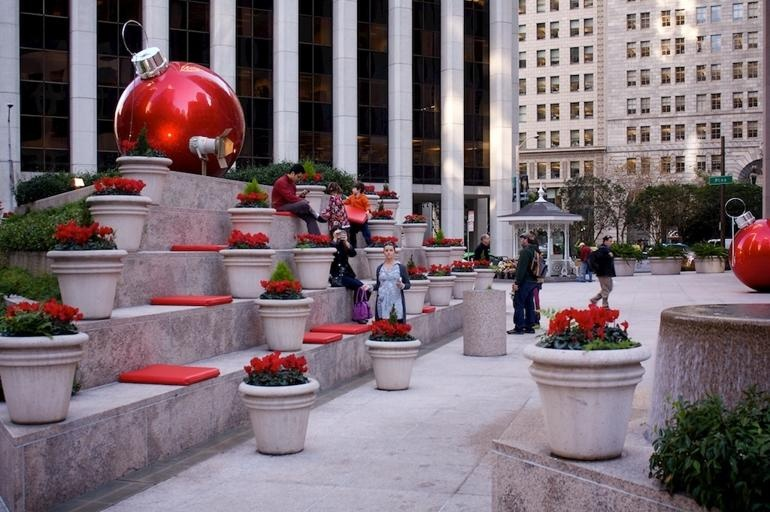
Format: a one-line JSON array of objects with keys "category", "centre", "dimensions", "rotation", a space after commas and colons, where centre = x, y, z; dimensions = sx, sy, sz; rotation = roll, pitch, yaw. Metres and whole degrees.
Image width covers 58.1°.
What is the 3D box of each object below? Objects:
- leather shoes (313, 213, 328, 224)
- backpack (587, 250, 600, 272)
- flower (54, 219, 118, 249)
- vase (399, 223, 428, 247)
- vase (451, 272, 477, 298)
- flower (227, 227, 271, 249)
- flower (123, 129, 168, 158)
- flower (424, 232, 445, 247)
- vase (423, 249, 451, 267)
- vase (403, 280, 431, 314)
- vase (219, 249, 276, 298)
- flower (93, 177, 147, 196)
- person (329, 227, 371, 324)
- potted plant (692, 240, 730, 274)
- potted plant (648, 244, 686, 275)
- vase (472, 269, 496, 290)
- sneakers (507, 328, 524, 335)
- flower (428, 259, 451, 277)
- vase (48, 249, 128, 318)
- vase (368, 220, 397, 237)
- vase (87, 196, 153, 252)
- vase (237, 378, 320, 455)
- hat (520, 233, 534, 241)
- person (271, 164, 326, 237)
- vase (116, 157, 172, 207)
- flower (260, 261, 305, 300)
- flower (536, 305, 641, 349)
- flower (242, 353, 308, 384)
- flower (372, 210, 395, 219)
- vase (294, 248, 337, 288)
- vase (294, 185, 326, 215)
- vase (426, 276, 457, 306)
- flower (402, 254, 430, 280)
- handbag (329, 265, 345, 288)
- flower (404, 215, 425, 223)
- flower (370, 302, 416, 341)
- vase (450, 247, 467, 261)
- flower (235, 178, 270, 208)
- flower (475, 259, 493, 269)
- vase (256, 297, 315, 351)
[{"category": "leather shoes", "centre": [-1.630, -0.948, 17.725], "dimensions": [0.199, 0.205, 0.210], "rotation": [-4, 3, 18]}, {"category": "backpack", "centre": [6.642, 0.171, 22.346], "dimensions": [0.432, 0.612, 0.208], "rotation": [0, 9, -34]}, {"category": "flower", "centre": [-4.538, -0.274, 10.363], "dimensions": [0.614, 0.279, 0.607], "rotation": [1, 1, 44]}, {"category": "vase", "centre": [0.950, -0.718, 24.173], "dimensions": [0.836, 0.705, 0.847], "rotation": [2, -4, -20]}, {"category": "vase", "centre": [2.458, 0.966, 22.108], "dimensions": [0.811, 0.759, 0.846], "rotation": [1, 1, 24]}, {"category": "flower", "centre": [-2.642, -0.329, 13.441], "dimensions": [0.750, 0.377, 0.306], "rotation": [-3, 3, -6]}, {"category": "flower", "centre": [-4.839, -2.266, 13.953], "dimensions": [0.773, 0.630, 0.819], "rotation": [-4, 3, -20]}, {"category": "flower", "centre": [1.736, -0.546, 23.791], "dimensions": [0.551, 0.708, 0.575], "rotation": [11, 11, 17]}, {"category": "vase", "centre": [1.737, 0.024, 23.314], "dimensions": [0.653, 0.532, 0.678], "rotation": [-1, 0, 33]}, {"category": "vase", "centre": [0.816, 1.045, 17.991], "dimensions": [0.746, 0.729, 0.780], "rotation": [1, 5, 15]}, {"category": "vase", "centre": [-2.627, 0.296, 13.256], "dimensions": [0.904, 0.765, 0.934], "rotation": [1, -7, -6]}, {"category": "flower", "centre": [-4.678, -1.237, 12.225], "dimensions": [0.791, 0.369, 0.569], "rotation": [-1, 3, 24]}, {"category": "person", "centre": [-0.810, 0.413, 16.285], "dimensions": [0.994, 2.111, 0.846], "rotation": [3, 6, 23]}, {"category": "potted plant", "centre": [18.639, 0.004, 40.096], "dimensions": [1.747, 1.517, 1.808], "rotation": [1, -7, -5]}, {"category": "potted plant", "centre": [15.910, 0.057, 39.933], "dimensions": [1.852, 1.550, 1.853], "rotation": [5, -6, -45]}, {"category": "vase", "centre": [3.495, 0.782, 23.980], "dimensions": [0.789, 0.643, 0.808], "rotation": [2, -5, -12]}, {"category": "sneakers", "centre": [3.671, 2.138, 19.590], "dimensions": [0.392, 0.178, 0.187], "rotation": [2, -1, 14]}, {"category": "flower", "centre": [1.608, 0.411, 20.550], "dimensions": [0.643, 0.281, 0.996], "rotation": [-2, 3, 4]}, {"category": "vase", "centre": [-4.496, 0.404, 10.613], "dimensions": [1.133, 1.061, 1.191], "rotation": [-1, 1, 40]}, {"category": "vase", "centre": [-0.067, -0.890, 21.566], "dimensions": [0.596, 0.459, 0.618], "rotation": [-1, 1, 35]}, {"category": "vase", "centre": [-4.754, -0.527, 12.424], "dimensions": [1.103, 1.030, 1.183], "rotation": [-5, -4, -10]}, {"category": "vase", "centre": [-1.492, 2.323, 9.993], "dimensions": [1.141, 0.908, 1.127], "rotation": [3, -10, -32]}, {"category": "hat", "centre": [4.018, -0.552, 19.586], "dimensions": [0.280, 0.164, 0.396], "rotation": [2, 0, 4]}, {"category": "person", "centre": [-2.092, -1.325, 17.131], "dimensions": [1.295, 1.897, 0.714], "rotation": [7, 20, 11]}, {"category": "vase", "centre": [-4.792, -1.530, 14.043], "dimensions": [0.956, 0.925, 1.007], "rotation": [-2, -1, -16]}, {"category": "flower", "centre": [-1.870, 0.439, 12.703], "dimensions": [0.573, 0.603, 0.564], "rotation": [-4, -1, 6]}, {"category": "flower", "centre": [2.171, 0.793, 7.344], "dimensions": [0.638, 0.249, 0.626], "rotation": [-3, 3, -12]}, {"category": "flower", "centre": [-1.501, 1.615, 9.749], "dimensions": [0.590, 0.320, 0.575], "rotation": [0, -1, -34]}, {"category": "flower", "centre": [-0.082, -1.341, 21.861], "dimensions": [0.741, 0.302, 0.514], "rotation": [-3, 3, -15]}, {"category": "vase", "centre": [-1.568, 0.257, 15.629], "dimensions": [1.045, 0.894, 1.056], "rotation": [-1, 0, 28]}, {"category": "vase", "centre": [-2.205, -1.658, 20.893], "dimensions": [0.773, 0.973, 0.859], "rotation": [-2, 8, -5]}, {"category": "vase", "centre": [1.712, 1.009, 20.308], "dimensions": [0.783, 0.762, 0.815], "rotation": [1, 1, 30]}, {"category": "flower", "centre": [0.698, 0.340, 18.317], "dimensions": [0.680, 0.719, 0.647], "rotation": [3, 8, 38]}, {"category": "handbag", "centre": [-1.121, 0.470, 16.052], "dimensions": [0.427, 0.640, 0.346], "rotation": [7, -33, -8]}, {"category": "flower", "centre": [1.020, -1.290, 24.006], "dimensions": [0.665, 0.285, 0.732], "rotation": [-2, 3, 7]}, {"category": "flower", "centre": [0.137, 1.271, 13.384], "dimensions": [0.634, 0.590, 0.658], "rotation": [-2, -3, 18]}, {"category": "vase", "centre": [2.692, -0.108, 25.204], "dimensions": [0.600, 0.648, 0.515], "rotation": [0, -2, -8]}, {"category": "flower", "centre": [-2.842, -1.237, 15.014], "dimensions": [0.598, 0.753, 0.717], "rotation": [4, -4, -19]}, {"category": "flower", "centre": [3.341, 0.282, 23.824], "dimensions": [0.496, 0.315, 0.608], "rotation": [-2, 3, 6]}, {"category": "vase", "centre": [-1.875, 1.244, 12.836], "dimensions": [1.047, 0.932, 1.077], "rotation": [1, -2, -15]}]
